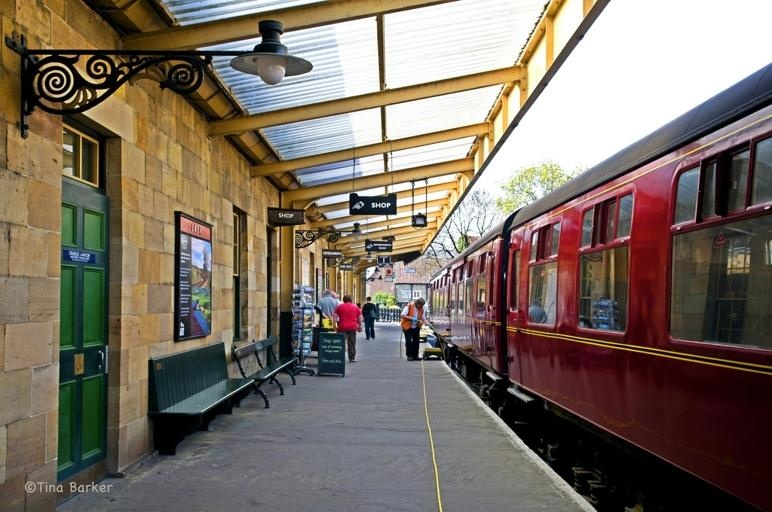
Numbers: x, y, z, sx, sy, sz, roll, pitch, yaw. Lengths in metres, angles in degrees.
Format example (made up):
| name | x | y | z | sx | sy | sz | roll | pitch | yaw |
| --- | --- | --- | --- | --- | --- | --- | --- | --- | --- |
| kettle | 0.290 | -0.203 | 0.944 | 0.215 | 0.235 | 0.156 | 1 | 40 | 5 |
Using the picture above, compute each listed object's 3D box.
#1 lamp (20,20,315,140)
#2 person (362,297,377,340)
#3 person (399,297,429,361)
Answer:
| name | x | y | z | sx | sy | sz | roll | pitch | yaw |
| --- | --- | --- | --- | --- | --- | --- | --- | --- | --- |
| lamp | -2.205 | -1.711 | 6.541 | 2.744 | 1.325 | 1.131 | 1 | -1 | -13 |
| person | -0.774 | 2.721 | 27.489 | 0.512 | 1.787 | 1.395 | 1 | -1 | -2 |
| person | 0.771 | 2.204 | 19.206 | 0.619 | 1.699 | 1.930 | 1 | -1 | 2 |
